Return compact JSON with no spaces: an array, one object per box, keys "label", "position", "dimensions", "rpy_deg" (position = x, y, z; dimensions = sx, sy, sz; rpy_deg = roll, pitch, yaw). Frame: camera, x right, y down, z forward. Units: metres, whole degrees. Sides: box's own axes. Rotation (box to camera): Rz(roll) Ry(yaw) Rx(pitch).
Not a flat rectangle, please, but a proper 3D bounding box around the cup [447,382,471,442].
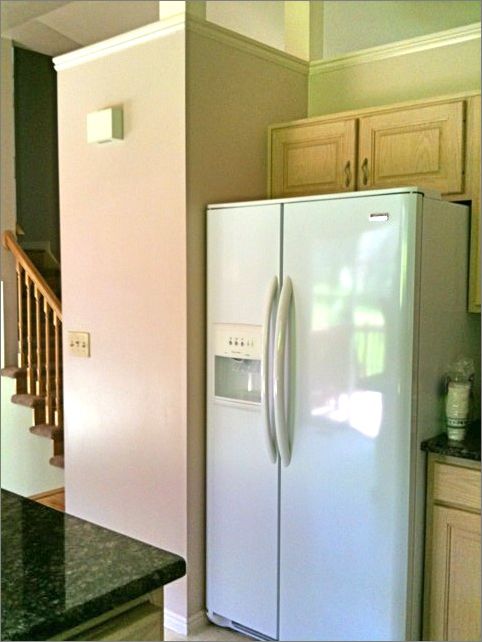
[{"label":"cup","position":[0.717,0.296,2.010],"dimensions":[0.079,0.178,0.129],"rpy_deg":[3,2,23]}]
